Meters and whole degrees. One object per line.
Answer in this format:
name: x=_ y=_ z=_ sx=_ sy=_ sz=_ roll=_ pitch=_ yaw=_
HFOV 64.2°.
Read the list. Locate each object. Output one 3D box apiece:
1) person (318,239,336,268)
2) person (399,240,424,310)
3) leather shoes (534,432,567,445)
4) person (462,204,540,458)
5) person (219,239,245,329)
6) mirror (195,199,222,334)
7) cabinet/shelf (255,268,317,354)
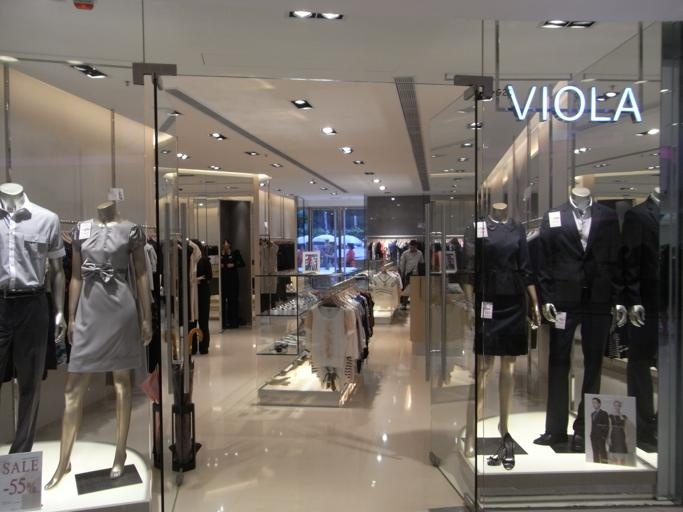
person: x=-0.244 y=-0.035 z=10.032 sx=0.322 sy=0.483 sz=0.897 roll=-1 pitch=6 yaw=-3
person: x=1.344 y=0.352 z=10.354 sx=0.467 sy=1.346 sz=1.481 roll=0 pitch=6 yaw=7
leather shoes: x=1.426 y=1.253 z=3.699 sx=0.211 sy=0.098 sz=0.089 roll=2 pitch=-4 yaw=0
person: x=1.133 y=0.534 z=3.706 sx=0.468 sy=1.783 sz=0.193 roll=-4 pitch=6 yaw=-27
person: x=-1.753 y=0.470 z=8.711 sx=0.358 sy=1.431 sz=0.220 roll=-2 pitch=5 yaw=-16
mirror: x=-1.997 y=0.189 z=8.259 sx=0.356 sy=2.135 sz=1.029 roll=-2 pitch=5 yaw=-12
cabinet/shelf: x=-0.614 y=0.671 z=6.078 sx=0.922 sy=0.917 sz=0.497 roll=2 pitch=6 yaw=31
